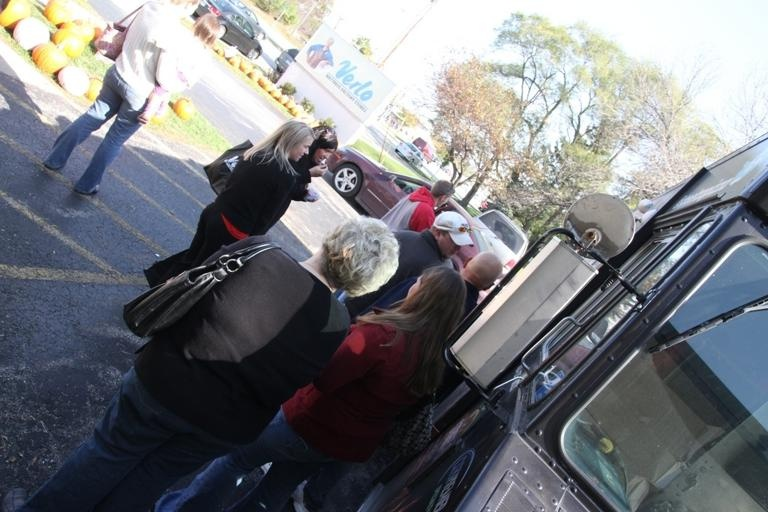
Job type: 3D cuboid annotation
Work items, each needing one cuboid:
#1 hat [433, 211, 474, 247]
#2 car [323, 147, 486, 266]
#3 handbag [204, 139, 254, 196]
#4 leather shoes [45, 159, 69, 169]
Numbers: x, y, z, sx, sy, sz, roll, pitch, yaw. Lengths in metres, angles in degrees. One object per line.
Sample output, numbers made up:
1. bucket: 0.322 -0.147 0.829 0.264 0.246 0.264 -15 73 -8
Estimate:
1. hat: 0.697 -0.292 5.244 0.388 0.208 0.270 33 12 2
2. car: 0.208 -0.998 11.607 3.628 1.145 1.989 39 7 10
3. handbag: -1.484 -0.835 5.181 0.443 0.550 0.179 54 4 19
4. leather shoes: -3.577 -1.005 5.816 0.132 0.056 0.099 1 -4 0
